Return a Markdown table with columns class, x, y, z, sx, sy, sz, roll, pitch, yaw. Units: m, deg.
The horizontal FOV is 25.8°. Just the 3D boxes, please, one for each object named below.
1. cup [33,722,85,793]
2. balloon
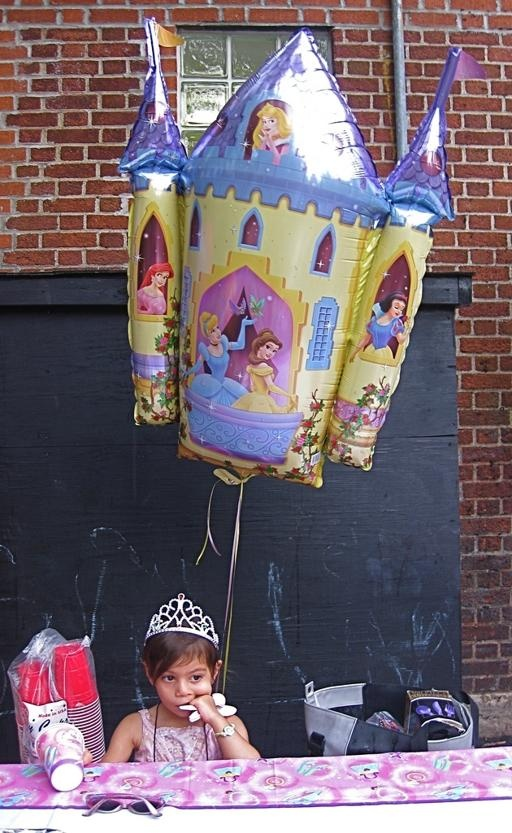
| class | x | y | z | sx | sy | sz | roll | pitch | yaw |
| --- | --- | --- | --- | --- | --- | --- | --- | --- | --- |
| cup | -0.454 | 0.780 | 2.611 | 0.169 | 0.112 | 0.136 | -4 | 10 | -20 |
| balloon | 0.074 | -0.376 | 2.670 | 0.815 | 1.110 | 0.355 | 1 | 15 | 8 |
